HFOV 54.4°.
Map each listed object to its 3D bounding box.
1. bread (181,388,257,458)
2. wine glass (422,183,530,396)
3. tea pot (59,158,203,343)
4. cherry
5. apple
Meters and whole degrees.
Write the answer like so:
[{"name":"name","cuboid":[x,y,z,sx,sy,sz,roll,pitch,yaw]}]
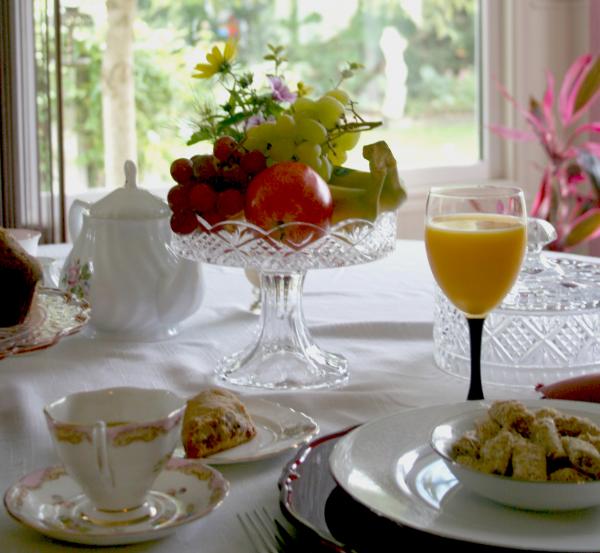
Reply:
[{"name":"bread","cuboid":[-0.067,0.118,0.490,0.058,0.032,0.112,-6,12,-7]},{"name":"wine glass","cuboid":[0.157,0.008,0.571,0.071,0.192,0.115,1,12,13]},{"name":"tea pot","cuboid":[-0.217,-0.026,0.849,0.218,0.226,0.169,5,8,31]},{"name":"cherry","cuboid":[-0.099,-0.099,0.655,0.106,0.124,0.088,10,24,-15]},{"name":"apple","cuboid":[-0.010,-0.077,0.617,0.097,0.086,0.063,-5,12,-2]}]
